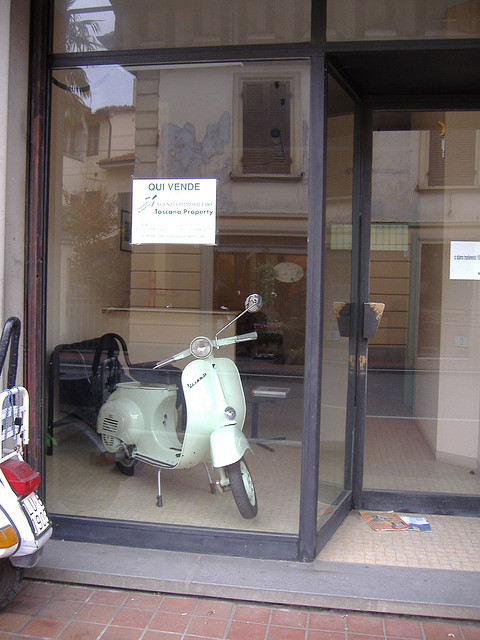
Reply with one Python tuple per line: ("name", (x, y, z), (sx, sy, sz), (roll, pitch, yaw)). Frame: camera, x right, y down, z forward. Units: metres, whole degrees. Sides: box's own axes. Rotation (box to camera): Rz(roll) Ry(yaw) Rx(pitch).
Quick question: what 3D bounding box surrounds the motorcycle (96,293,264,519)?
("motorcycle", (-0.446, 0.417, 3.142), (1.231, 1.067, 0.575), (2, 6, 39))
